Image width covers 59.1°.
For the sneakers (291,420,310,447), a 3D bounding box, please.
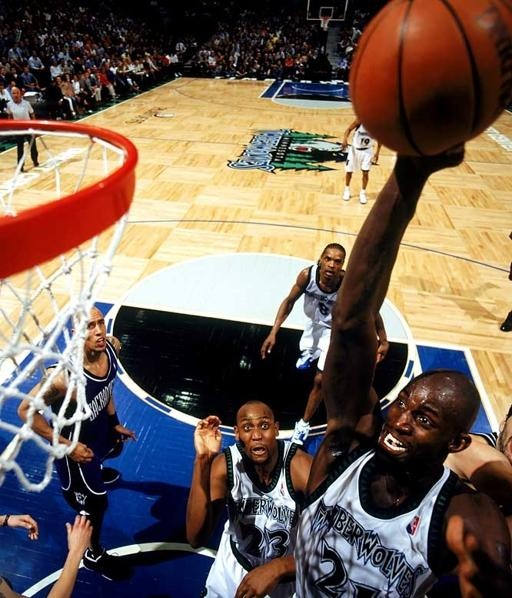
[{"bbox_3d":[0.345,0.953,3.284,0.083,0.105,0.234,23,42,-4],"label":"sneakers"}]
